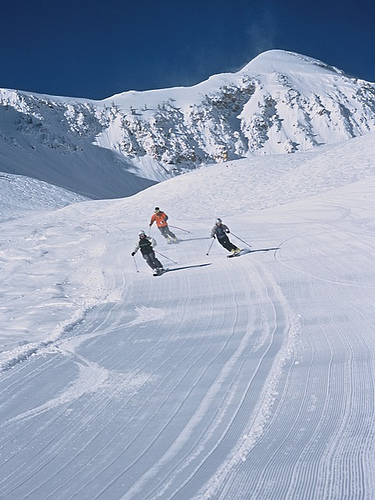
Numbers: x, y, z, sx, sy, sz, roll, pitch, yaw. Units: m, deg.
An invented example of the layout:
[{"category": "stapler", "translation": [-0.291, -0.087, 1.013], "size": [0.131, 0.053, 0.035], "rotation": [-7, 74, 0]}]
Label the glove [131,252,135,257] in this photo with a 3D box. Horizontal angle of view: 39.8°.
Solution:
[{"category": "glove", "translation": [-1.554, 0.101, 14.802], "size": [0.042, 0.145, 0.168], "rotation": [2, 9, -35]}]

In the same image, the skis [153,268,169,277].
[{"category": "skis", "translation": [-0.670, 0.584, 13.831], "size": [0.255, 0.047, 0.872], "rotation": [1, 11, 22]}]

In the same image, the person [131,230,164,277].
[{"category": "person", "translation": [-1.046, 0.058, 13.943], "size": [0.637, 1.075, 1.177], "rotation": [-9, 12, -22]}]

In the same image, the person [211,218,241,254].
[{"category": "person", "translation": [1.058, -0.459, 15.444], "size": [0.701, 1.071, 0.751], "rotation": [-8, 11, -14]}]

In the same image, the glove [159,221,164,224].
[{"category": "glove", "translation": [-0.906, -0.991, 18.175], "size": [0.152, 0.095, 0.049], "rotation": [-7, 11, -16]}]
